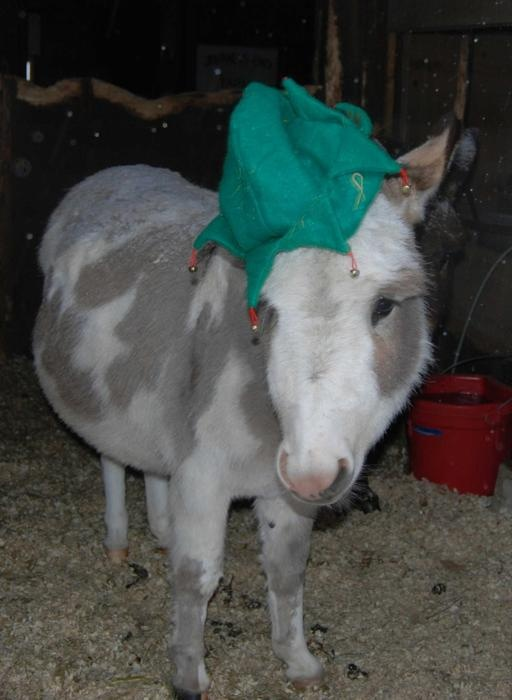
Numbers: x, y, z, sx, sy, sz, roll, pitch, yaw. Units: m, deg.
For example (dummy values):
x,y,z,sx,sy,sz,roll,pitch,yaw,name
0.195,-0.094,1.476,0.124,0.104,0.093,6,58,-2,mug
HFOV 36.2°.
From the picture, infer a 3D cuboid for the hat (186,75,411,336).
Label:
x,y,z,sx,sy,sz,roll,pitch,yaw,name
0.079,-0.336,1.783,0.374,0.519,0.451,-4,25,-18,hat
